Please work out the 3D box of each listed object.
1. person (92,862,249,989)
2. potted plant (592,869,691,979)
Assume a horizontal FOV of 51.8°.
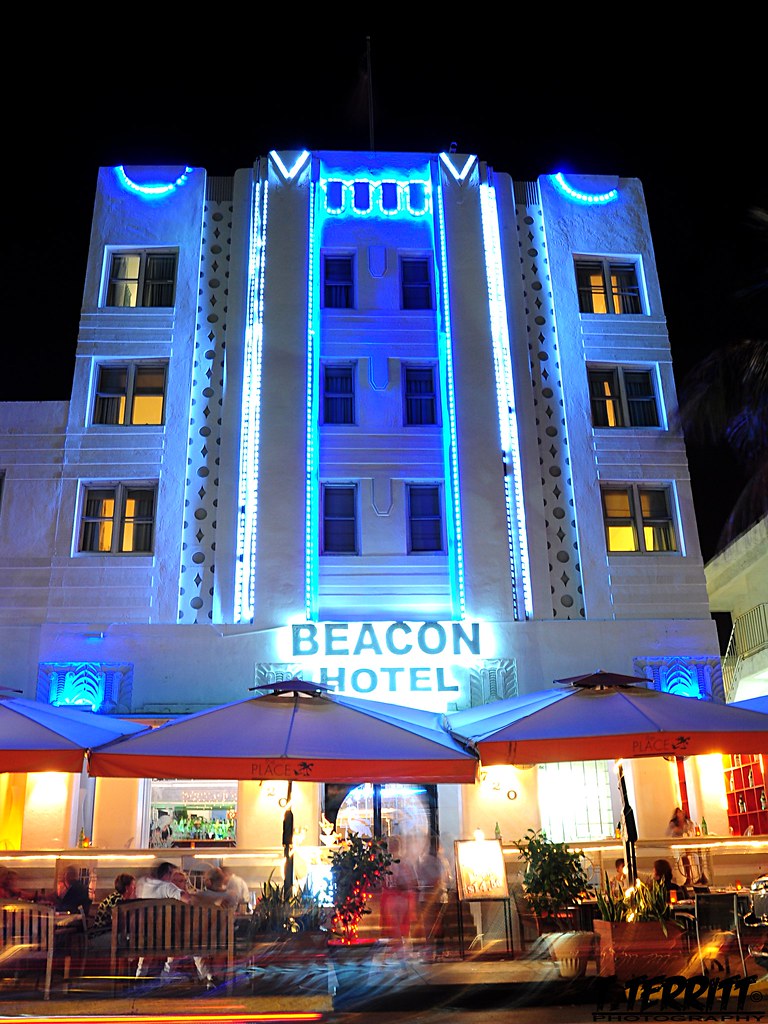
[{"bbox_3d":[-1.761,3.586,6.923,1.205,0.904,3.043,5,-26,-15],"label":"person"},{"bbox_3d":[2.170,3.496,6.648,0.540,0.639,0.567,1,-23,-5],"label":"potted plant"}]
